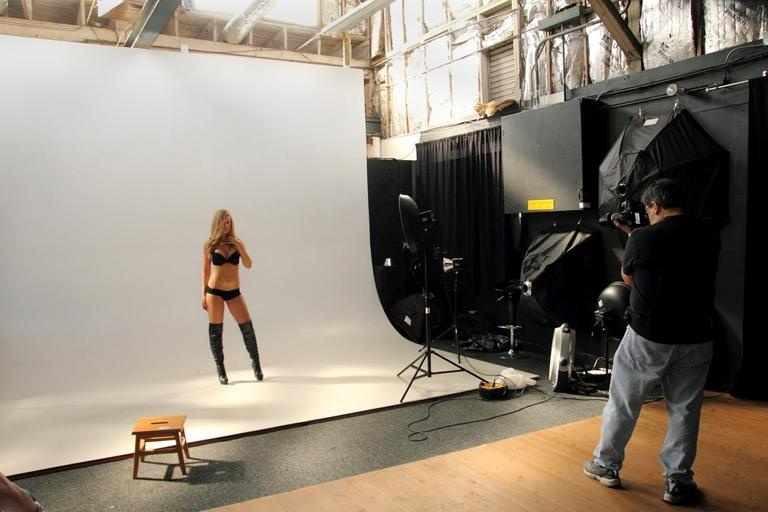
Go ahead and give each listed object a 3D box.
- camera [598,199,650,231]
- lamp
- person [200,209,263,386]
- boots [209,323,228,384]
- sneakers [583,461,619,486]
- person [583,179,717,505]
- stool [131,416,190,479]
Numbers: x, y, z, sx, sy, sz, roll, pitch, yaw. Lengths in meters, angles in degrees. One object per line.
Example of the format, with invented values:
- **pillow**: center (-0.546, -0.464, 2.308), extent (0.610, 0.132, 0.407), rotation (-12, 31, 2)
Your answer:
- **camera**: center (2.207, -0.387, 5.077), extent (0.425, 0.252, 0.430), rotation (2, -2, 21)
- **lamp**: center (0.561, 0.428, 6.511), extent (0.807, 2.305, 2.071), rotation (-1, 12, 6)
- **person**: center (-1.684, 0.433, 5.950), extent (0.566, 1.817, 0.476), rotation (-7, 14, -20)
- **boots**: center (-1.792, 1.055, 5.910), extent (0.157, 0.620, 0.239), rotation (-6, 13, -18)
- **sneakers**: center (1.687, 1.695, 4.322), extent (0.120, 0.158, 0.289), rotation (-3, 10, -33)
- **person**: center (2.013, 0.621, 4.112), extent (0.804, 2.345, 0.618), rotation (4, 14, 27)
- **stool**: center (-1.942, 1.641, 4.742), extent (0.552, 0.372, 0.557), rotation (-1, 1, 26)
